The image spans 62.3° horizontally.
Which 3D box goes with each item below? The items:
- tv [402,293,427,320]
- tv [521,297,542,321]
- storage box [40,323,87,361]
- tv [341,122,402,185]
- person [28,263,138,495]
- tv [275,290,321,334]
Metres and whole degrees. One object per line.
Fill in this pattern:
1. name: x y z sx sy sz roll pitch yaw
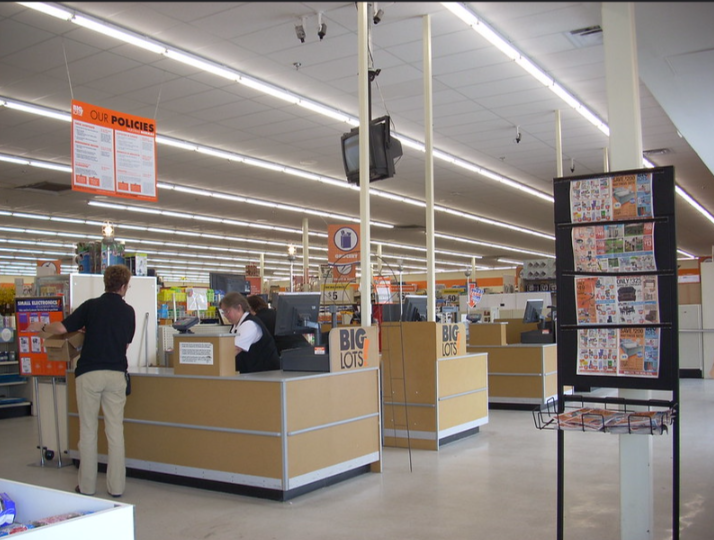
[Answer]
1. tv: 0.833 0.526 8.812 0.327 0.369 0.871 -1 -3 9
2. tv: 3.524 0.784 11.983 0.156 0.326 0.487 8 7 44
3. storage box: -2.927 0.728 5.915 0.315 0.242 0.355 2 -7 -29
4. tv: 0.192 -1.412 6.889 0.526 0.653 0.716 -8 2 -42
5. person: -2.496 1.038 5.730 0.643 2.225 0.290 0 -3 -20
6. tv: -0.533 0.453 6.004 0.581 0.455 0.199 1 12 -32
